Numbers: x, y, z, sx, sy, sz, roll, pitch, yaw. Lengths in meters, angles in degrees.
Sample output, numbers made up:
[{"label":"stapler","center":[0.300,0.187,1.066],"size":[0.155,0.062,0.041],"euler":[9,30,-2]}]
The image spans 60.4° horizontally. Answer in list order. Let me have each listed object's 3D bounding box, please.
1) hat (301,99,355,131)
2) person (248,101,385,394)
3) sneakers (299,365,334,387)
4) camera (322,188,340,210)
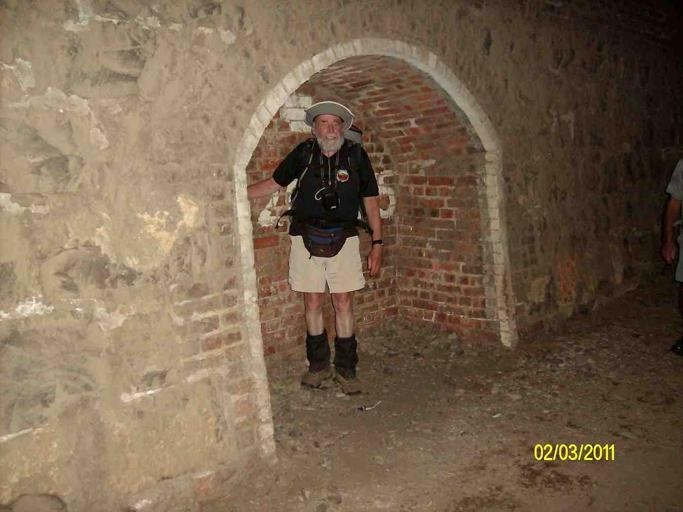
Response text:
[{"label":"hat","center":[-0.111,-1.166,4.868],"size":[0.381,0.257,0.304],"euler":[-3,8,-5]},{"label":"person","center":[-0.132,-0.052,5.021],"size":[0.910,2.430,0.347],"euler":[-3,8,-1]},{"label":"sneakers","center":[-0.209,1.087,5.291],"size":[0.127,0.129,0.285],"euler":[-2,-8,35]},{"label":"camera","center":[-0.100,-0.476,4.914],"size":[0.121,0.174,0.061],"euler":[1,0,-1]}]
